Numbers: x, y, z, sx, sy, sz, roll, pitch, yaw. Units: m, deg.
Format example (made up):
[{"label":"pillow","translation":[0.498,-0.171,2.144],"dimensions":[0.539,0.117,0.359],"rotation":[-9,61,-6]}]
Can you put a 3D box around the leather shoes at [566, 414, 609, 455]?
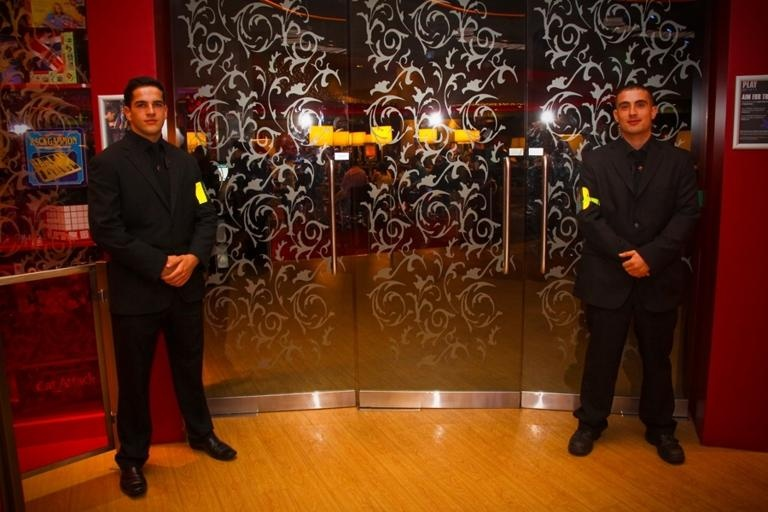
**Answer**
[{"label":"leather shoes","translation":[1.335,1.162,3.667],"dimensions":[0.118,0.154,0.363],"rotation":[3,10,39]}]

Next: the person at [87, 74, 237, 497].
[{"label":"person","translation":[-1.345,0.151,3.362],"dimensions":[0.746,2.386,0.531],"rotation":[-9,15,-29]}]

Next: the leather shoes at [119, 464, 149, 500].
[{"label":"leather shoes","translation":[-1.475,1.336,3.296],"dimensions":[0.103,0.098,0.221],"rotation":[-1,7,-40]}]

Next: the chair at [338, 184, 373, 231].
[{"label":"chair","translation":[-0.216,-0.372,4.042],"dimensions":[0.249,0.406,0.254],"rotation":[14,24,28]}]

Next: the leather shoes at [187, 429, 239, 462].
[{"label":"leather shoes","translation":[-1.092,1.227,3.664],"dimensions":[0.389,0.169,0.137],"rotation":[9,14,18]}]

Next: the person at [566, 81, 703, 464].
[{"label":"person","translation":[1.567,0.088,3.543],"dimensions":[0.800,2.263,0.545],"rotation":[-1,13,1]}]
